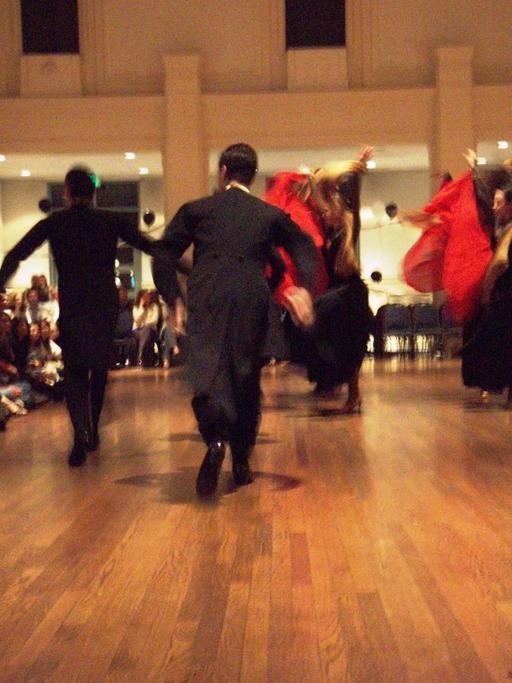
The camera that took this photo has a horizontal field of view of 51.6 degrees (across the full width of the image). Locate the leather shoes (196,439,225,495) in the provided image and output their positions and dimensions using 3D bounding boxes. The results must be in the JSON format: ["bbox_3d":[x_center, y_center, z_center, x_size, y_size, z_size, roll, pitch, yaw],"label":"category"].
[{"bbox_3d":[-0.164,0.494,2.055,0.061,0.228,0.108,3,12,-39],"label":"leather shoes"}]

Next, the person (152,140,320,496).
[{"bbox_3d":[-0.063,-0.015,2.111,0.640,1.207,0.296,-3,6,-17],"label":"person"}]

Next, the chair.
[{"bbox_3d":[2.645,-0.209,8.649,1.070,0.755,0.392,0,-1,1],"label":"chair"}]

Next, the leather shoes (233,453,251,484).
[{"bbox_3d":[-0.055,0.529,2.223,0.102,0.170,0.115,1,-10,-3],"label":"leather shoes"}]
